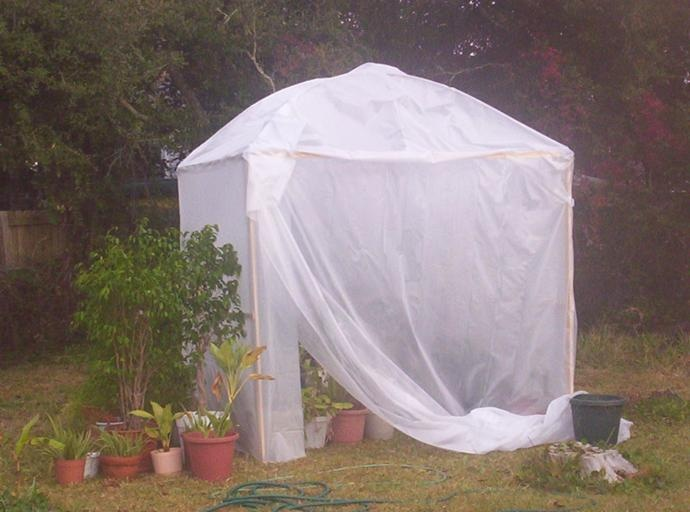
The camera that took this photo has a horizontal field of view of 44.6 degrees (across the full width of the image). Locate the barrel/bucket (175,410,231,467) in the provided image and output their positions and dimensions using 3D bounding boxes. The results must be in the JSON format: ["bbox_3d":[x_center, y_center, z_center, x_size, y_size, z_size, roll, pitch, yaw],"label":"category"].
[{"bbox_3d":[-1.552,1.905,8.920,0.524,0.672,0.440,0,-4,-2],"label":"barrel/bucket"}]

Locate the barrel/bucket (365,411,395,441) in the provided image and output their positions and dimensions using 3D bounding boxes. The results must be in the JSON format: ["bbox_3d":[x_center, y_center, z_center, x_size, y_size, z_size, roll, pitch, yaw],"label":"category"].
[{"bbox_3d":[0.391,2.008,9.911,0.245,0.247,0.302,1,-5,-2],"label":"barrel/bucket"}]

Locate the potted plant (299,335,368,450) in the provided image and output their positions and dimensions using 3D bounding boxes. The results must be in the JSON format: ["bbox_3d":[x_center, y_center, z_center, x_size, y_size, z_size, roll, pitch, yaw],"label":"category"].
[{"bbox_3d":[-0.128,1.684,9.824,0.850,0.805,0.922,1,-3,2],"label":"potted plant"}]

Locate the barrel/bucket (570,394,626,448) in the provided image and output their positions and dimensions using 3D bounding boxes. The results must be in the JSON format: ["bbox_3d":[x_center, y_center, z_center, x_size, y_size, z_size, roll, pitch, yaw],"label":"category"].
[{"bbox_3d":[2.722,1.723,9.103,0.470,0.440,0.503,0,2,0],"label":"barrel/bucket"}]

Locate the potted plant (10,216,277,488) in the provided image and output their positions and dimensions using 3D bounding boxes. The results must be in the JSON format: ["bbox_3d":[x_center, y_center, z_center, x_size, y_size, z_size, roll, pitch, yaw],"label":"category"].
[{"bbox_3d":[-2.132,0.854,9.818,2.282,3.567,2.249,0,3,-5],"label":"potted plant"}]

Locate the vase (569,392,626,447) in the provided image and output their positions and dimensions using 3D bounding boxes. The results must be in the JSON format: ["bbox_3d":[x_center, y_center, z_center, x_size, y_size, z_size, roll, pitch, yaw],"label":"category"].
[{"bbox_3d":[2.724,1.750,9.115,0.474,0.440,0.504,1,1,25],"label":"vase"}]

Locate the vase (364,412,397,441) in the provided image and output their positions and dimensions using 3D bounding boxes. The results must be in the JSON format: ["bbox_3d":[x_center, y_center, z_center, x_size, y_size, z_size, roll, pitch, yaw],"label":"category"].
[{"bbox_3d":[0.381,2.013,9.913,0.246,0.250,0.301,1,-5,-2],"label":"vase"}]
